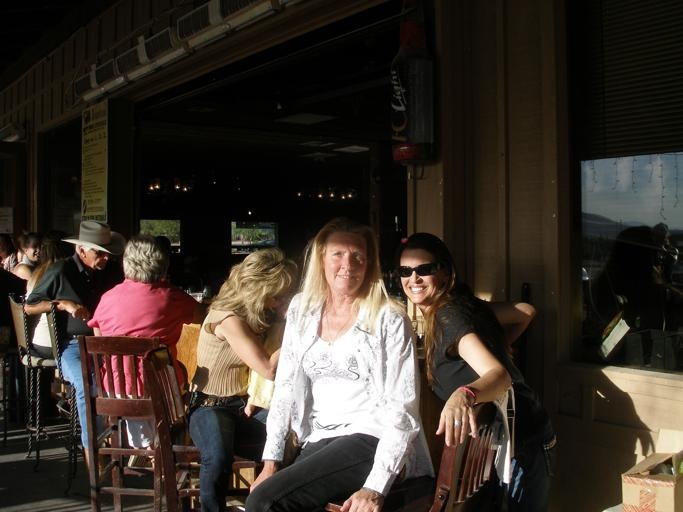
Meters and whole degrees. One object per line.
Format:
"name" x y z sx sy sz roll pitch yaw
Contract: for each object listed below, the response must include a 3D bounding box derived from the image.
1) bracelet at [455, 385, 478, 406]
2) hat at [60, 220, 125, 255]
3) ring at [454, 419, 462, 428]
"bracelet" 0.462 0.516 1.996 0.051 0.025 0.063 45 -2 -13
"hat" -2.057 -0.177 4.549 0.466 0.214 0.418 9 14 -21
"ring" 0.409 0.592 1.915 0.022 0.024 0.023 0 -1 0
